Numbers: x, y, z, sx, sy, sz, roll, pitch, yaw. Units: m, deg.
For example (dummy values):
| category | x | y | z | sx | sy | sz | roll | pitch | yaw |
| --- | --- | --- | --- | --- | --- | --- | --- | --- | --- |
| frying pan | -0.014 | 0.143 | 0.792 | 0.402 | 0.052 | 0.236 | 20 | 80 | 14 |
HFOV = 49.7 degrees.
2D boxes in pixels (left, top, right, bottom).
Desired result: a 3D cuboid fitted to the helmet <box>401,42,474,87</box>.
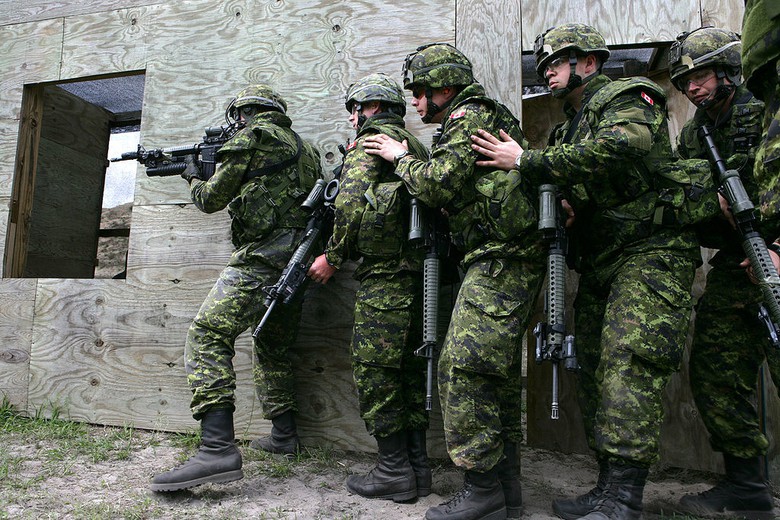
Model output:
| category | x | y | z | sx | sy | sz | roll | pitch | yaw |
| --- | --- | --- | --- | --- | --- | --- | --- | --- | --- |
| helmet | 0.381 | -1.536 | 6.536 | 0.625 | 0.305 | 0.464 | 3 | 19 | 33 |

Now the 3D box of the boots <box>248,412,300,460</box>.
| category | x | y | z | sx | sy | sz | roll | pitch | yaw |
| --- | --- | --- | --- | --- | --- | --- | --- | --- | --- |
| boots | -0.953 | 1.458 | 7.113 | 0.468 | 0.388 | 0.197 | -3 | -3 | 27 |

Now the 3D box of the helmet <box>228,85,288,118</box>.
| category | x | y | z | sx | sy | sz | roll | pitch | yaw |
| --- | --- | --- | --- | --- | --- | --- | --- | --- | --- |
| helmet | -1.110 | -1.333 | 7.199 | 0.361 | 0.234 | 0.319 | 7 | 1 | 9 |

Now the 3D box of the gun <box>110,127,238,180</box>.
| category | x | y | z | sx | sy | sz | roll | pitch | yaw |
| --- | --- | --- | --- | --- | --- | --- | --- | --- | --- |
| gun | -1.852 | -0.833 | 7.397 | 1.320 | 0.488 | 0.230 | -8 | -5 | 18 |

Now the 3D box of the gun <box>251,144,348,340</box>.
| category | x | y | z | sx | sy | sz | roll | pitch | yaw |
| --- | --- | --- | --- | --- | --- | --- | --- | --- | --- |
| gun | -0.754 | -0.168 | 6.875 | 0.269 | 1.684 | 0.578 | 26 | -11 | 10 |

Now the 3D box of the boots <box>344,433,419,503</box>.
| category | x | y | z | sx | sy | sz | roll | pitch | yaw |
| --- | --- | --- | --- | --- | --- | --- | --- | --- | --- |
| boots | -0.082 | 1.614 | 6.572 | 0.645 | 0.536 | 0.265 | -15 | -12 | 35 |

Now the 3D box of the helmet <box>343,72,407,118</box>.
| category | x | y | z | sx | sy | sz | roll | pitch | yaw |
| --- | --- | --- | --- | --- | --- | --- | --- | --- | --- |
| helmet | -0.111 | -1.372 | 6.919 | 0.511 | 0.351 | 0.432 | -5 | 2 | 30 |

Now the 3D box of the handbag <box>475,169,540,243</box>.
| category | x | y | z | sx | sy | sz | roll | pitch | yaw |
| --- | --- | --- | --- | --- | --- | --- | --- | --- | --- |
| handbag | 0.829 | -0.407 | 6.158 | 0.480 | 0.502 | 0.217 | -9 | -6 | -3 |

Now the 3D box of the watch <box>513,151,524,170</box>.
| category | x | y | z | sx | sy | sz | roll | pitch | yaw |
| --- | --- | --- | --- | --- | --- | --- | --- | --- | --- |
| watch | 0.910 | -0.721 | 6.068 | 0.031 | 0.102 | 0.111 | 16 | 21 | 14 |

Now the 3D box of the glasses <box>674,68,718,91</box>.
| category | x | y | z | sx | sy | sz | roll | pitch | yaw |
| --- | --- | --- | --- | --- | --- | --- | --- | --- | --- |
| glasses | 2.306 | -1.389 | 6.401 | 0.155 | 0.103 | 0.208 | -1 | 25 | 42 |

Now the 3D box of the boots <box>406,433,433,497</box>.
| category | x | y | z | sx | sy | sz | roll | pitch | yaw |
| --- | --- | --- | --- | --- | --- | --- | --- | --- | --- |
| boots | 0.248 | 1.671 | 6.777 | 0.237 | 0.489 | 0.542 | -3 | -19 | -9 |

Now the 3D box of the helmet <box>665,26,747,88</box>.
| category | x | y | z | sx | sy | sz | roll | pitch | yaw |
| --- | --- | --- | --- | --- | --- | --- | --- | --- | --- |
| helmet | 2.473 | -1.584 | 6.533 | 0.643 | 0.439 | 0.509 | -3 | 1 | -15 |

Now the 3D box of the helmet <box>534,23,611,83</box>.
| category | x | y | z | sx | sy | sz | roll | pitch | yaw |
| --- | --- | --- | --- | --- | --- | --- | --- | --- | --- |
| helmet | 1.356 | -1.631 | 6.350 | 0.485 | 0.308 | 0.425 | -5 | 6 | 10 |

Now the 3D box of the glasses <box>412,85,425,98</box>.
| category | x | y | z | sx | sy | sz | roll | pitch | yaw |
| --- | --- | --- | --- | --- | --- | --- | --- | --- | --- |
| glasses | 0.221 | -1.311 | 6.478 | 0.082 | 0.069 | 0.101 | -33 | 17 | -32 |

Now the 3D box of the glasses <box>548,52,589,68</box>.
| category | x | y | z | sx | sy | sz | roll | pitch | yaw |
| --- | --- | --- | --- | --- | --- | --- | --- | --- | --- |
| glasses | 1.295 | -1.491 | 6.228 | 0.162 | 0.034 | 0.121 | -8 | -3 | 29 |

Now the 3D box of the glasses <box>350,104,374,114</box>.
| category | x | y | z | sx | sy | sz | roll | pitch | yaw |
| --- | --- | --- | --- | --- | --- | --- | --- | --- | --- |
| glasses | -0.210 | -1.230 | 6.809 | 0.147 | 0.064 | 0.100 | -4 | 2 | 1 |
